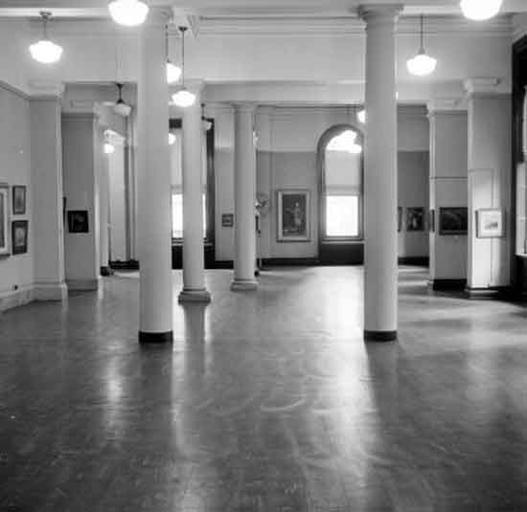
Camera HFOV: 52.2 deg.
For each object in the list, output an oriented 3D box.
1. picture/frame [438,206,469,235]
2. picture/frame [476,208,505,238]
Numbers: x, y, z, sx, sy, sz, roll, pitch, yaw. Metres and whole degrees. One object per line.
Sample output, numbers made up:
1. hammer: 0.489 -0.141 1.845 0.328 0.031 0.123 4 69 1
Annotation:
1. picture/frame: 4.785 -0.863 13.647 0.544 0.649 0.046 0 -4 -3
2. picture/frame: 4.933 -0.727 11.765 0.451 0.677 0.045 -1 2 -1
